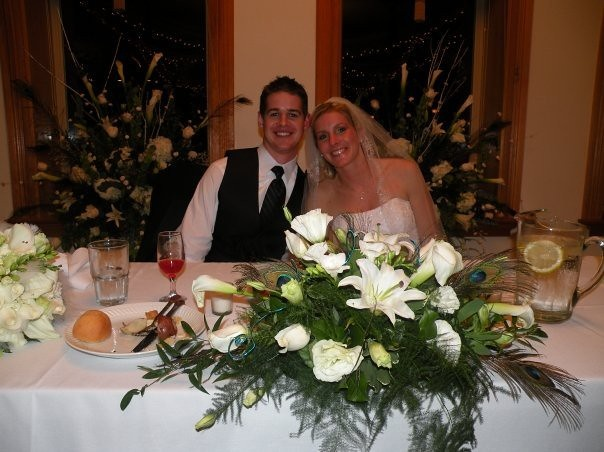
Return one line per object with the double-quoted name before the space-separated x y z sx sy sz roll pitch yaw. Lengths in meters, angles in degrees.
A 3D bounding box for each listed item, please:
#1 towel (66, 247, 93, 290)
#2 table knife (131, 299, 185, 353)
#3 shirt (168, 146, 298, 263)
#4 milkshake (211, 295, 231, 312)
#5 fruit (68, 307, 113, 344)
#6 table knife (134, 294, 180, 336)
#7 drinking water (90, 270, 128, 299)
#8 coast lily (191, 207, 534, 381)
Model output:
"towel" -0.990 0.185 2.104 0.055 0.183 0.134 -22 -33 23
"table knife" -0.506 0.338 1.660 0.049 0.023 0.285 15 24 10
"shirt" -0.451 -0.129 3.183 0.598 0.549 0.246 23 5 -15
"milkshake" -0.304 0.296 1.763 0.065 0.078 0.068 1 10 -6
"fruit" -0.725 0.314 1.606 0.106 0.071 0.108 -11 30 -38
"table knife" -0.522 0.318 1.738 0.043 0.014 0.283 2 24 17
"drinking water" -0.777 0.245 1.940 0.119 0.146 0.124 4 6 23
"coast lily" 0.178 0.222 1.329 0.605 0.318 0.686 5 -1 -18
